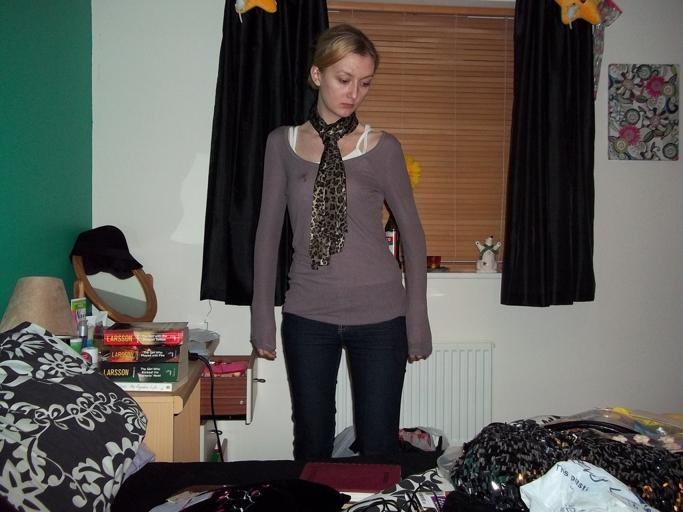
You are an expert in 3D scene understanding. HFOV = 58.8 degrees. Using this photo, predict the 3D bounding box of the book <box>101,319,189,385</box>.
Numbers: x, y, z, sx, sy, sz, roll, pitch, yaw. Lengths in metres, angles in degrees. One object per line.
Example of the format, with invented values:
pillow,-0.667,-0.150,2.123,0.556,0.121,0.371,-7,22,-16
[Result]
book,-0.694,0.340,2.196,0.210,0.153,0.225,0,-2,3

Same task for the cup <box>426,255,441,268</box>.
cup,0.489,0.030,3.215,0.060,0.050,0.059,2,-5,0
